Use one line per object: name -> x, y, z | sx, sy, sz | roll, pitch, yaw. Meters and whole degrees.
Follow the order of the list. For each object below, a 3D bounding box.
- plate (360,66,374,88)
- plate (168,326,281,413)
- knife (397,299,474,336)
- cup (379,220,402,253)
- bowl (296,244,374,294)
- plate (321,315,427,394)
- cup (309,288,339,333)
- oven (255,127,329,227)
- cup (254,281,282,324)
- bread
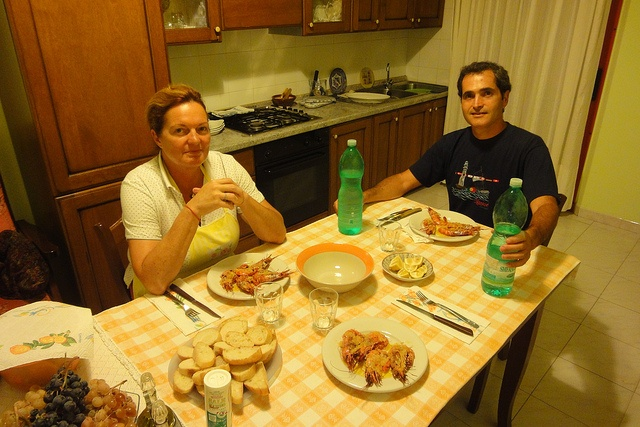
plate -> 0.524, -1.522, 4.623 | 0.212, 0.250, 0.032 | -25, 32, -26
plate -> -0.339, 0.524, 1.455 | 0.341, 0.071, 0.366 | -8, 14, 4
knife -> 0.472, 0.429, 1.676 | 0.209, 0.016, 0.030 | 26, 53, 34
cup -> 0.357, 0.109, 2.086 | 0.116, 0.138, 0.125 | -4, 24, 2
bowl -> 0.066, 0.251, 1.823 | 0.332, 0.108, 0.331 | 2, 25, -1
plate -> 0.202, 0.511, 1.529 | 0.387, 0.055, 0.302 | 0, 31, 1
cup -> 0.011, 0.397, 1.690 | 0.140, 0.161, 0.143 | -2, -5, 0
oven -> -0.238, -0.329, 3.315 | 0.514, 0.713, 0.445 | -27, 38, -37
cup -> -0.227, 0.385, 1.698 | 0.117, 0.131, 0.120 | 2, -3, 0
bread -> -0.326, 0.508, 1.454 | 0.271, 0.065, 0.263 | 24, 35, 34
